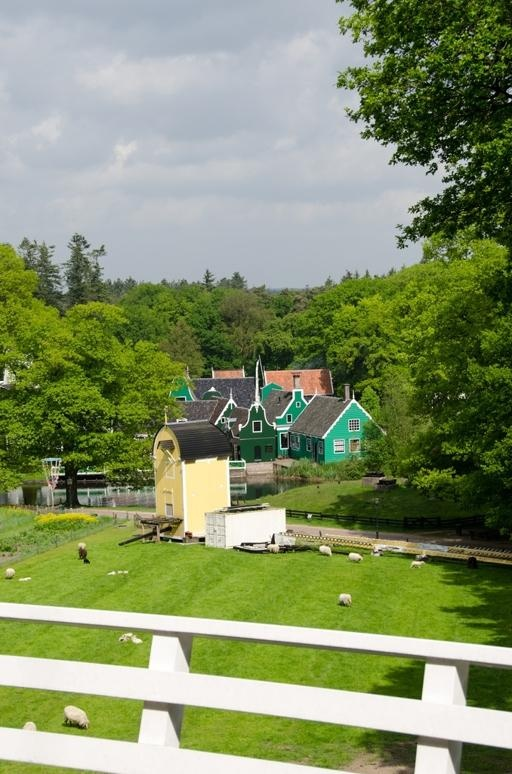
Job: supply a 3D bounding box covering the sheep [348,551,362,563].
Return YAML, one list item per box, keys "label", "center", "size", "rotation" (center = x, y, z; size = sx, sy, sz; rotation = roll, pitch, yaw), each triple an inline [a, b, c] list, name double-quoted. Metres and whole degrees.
- label: "sheep"
  center: [4.354, 7.417, 36.947]
  size: [0.569, 0.359, 0.906]
  rotation: [1, -1, 6]

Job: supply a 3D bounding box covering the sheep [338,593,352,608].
- label: "sheep"
  center: [2.967, 7.071, 28.114]
  size: [0.458, 0.400, 0.680]
  rotation: [1, -1, 7]

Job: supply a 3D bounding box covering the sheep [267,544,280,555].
- label: "sheep"
  center: [0.799, 7.431, 38.848]
  size: [0.326, 0.336, 0.724]
  rotation: [2, -2, -39]

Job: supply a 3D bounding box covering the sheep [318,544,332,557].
- label: "sheep"
  center: [3.175, 7.454, 38.532]
  size: [0.560, 0.416, 1.114]
  rotation: [1, -1, 4]

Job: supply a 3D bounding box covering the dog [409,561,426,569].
- label: "dog"
  center: [6.861, 7.513, 35.742]
  size: [0.810, 0.455, 0.206]
  rotation: [-9, 11, -42]
